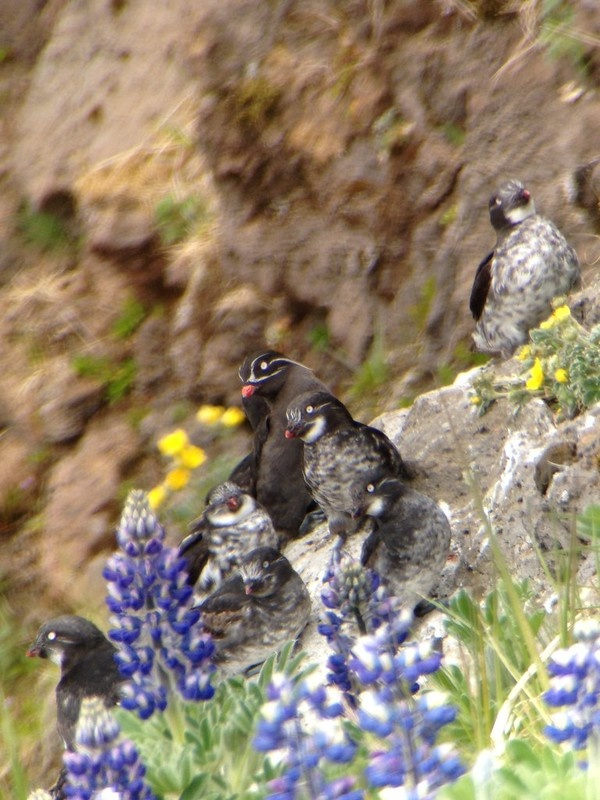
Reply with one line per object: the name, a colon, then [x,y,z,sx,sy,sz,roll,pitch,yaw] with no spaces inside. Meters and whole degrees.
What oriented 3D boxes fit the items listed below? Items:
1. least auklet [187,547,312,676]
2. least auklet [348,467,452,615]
least auklet: [-0.150,0.811,5.738,0.539,0.396,0.322,-15,33,33]
least auklet: [0.361,0.522,5.677,0.318,0.602,0.331,-4,35,2]
